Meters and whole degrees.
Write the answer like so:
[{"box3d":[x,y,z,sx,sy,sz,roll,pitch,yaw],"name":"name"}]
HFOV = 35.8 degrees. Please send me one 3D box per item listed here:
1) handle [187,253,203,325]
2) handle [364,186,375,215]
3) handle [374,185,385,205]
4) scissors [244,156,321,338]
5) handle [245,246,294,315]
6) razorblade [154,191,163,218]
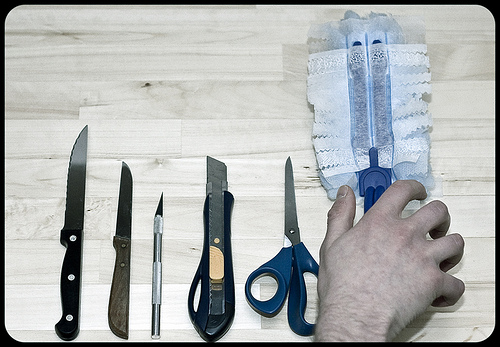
[{"box3d":[-0.132,0.291,1.883,0.033,0.140,0.007,14,-23,-6],"name":"handle"},{"box3d":[0.298,0.067,1.904,0.029,0.056,0.016,6,-18,8],"name":"handle"},{"box3d":[0.320,0.055,1.915,0.023,0.040,0.010,6,-32,3],"name":"handle"},{"box3d":[0.103,0.187,1.906,0.195,0.400,0.273,1,15,16],"name":"scissors"},{"box3d":[0.049,0.260,1.881,0.123,0.135,0.102,-3,14,1],"name":"handle"},{"box3d":[-0.233,0.077,1.941,0.016,0.053,0.004,10,-23,0],"name":"razorblade"}]
